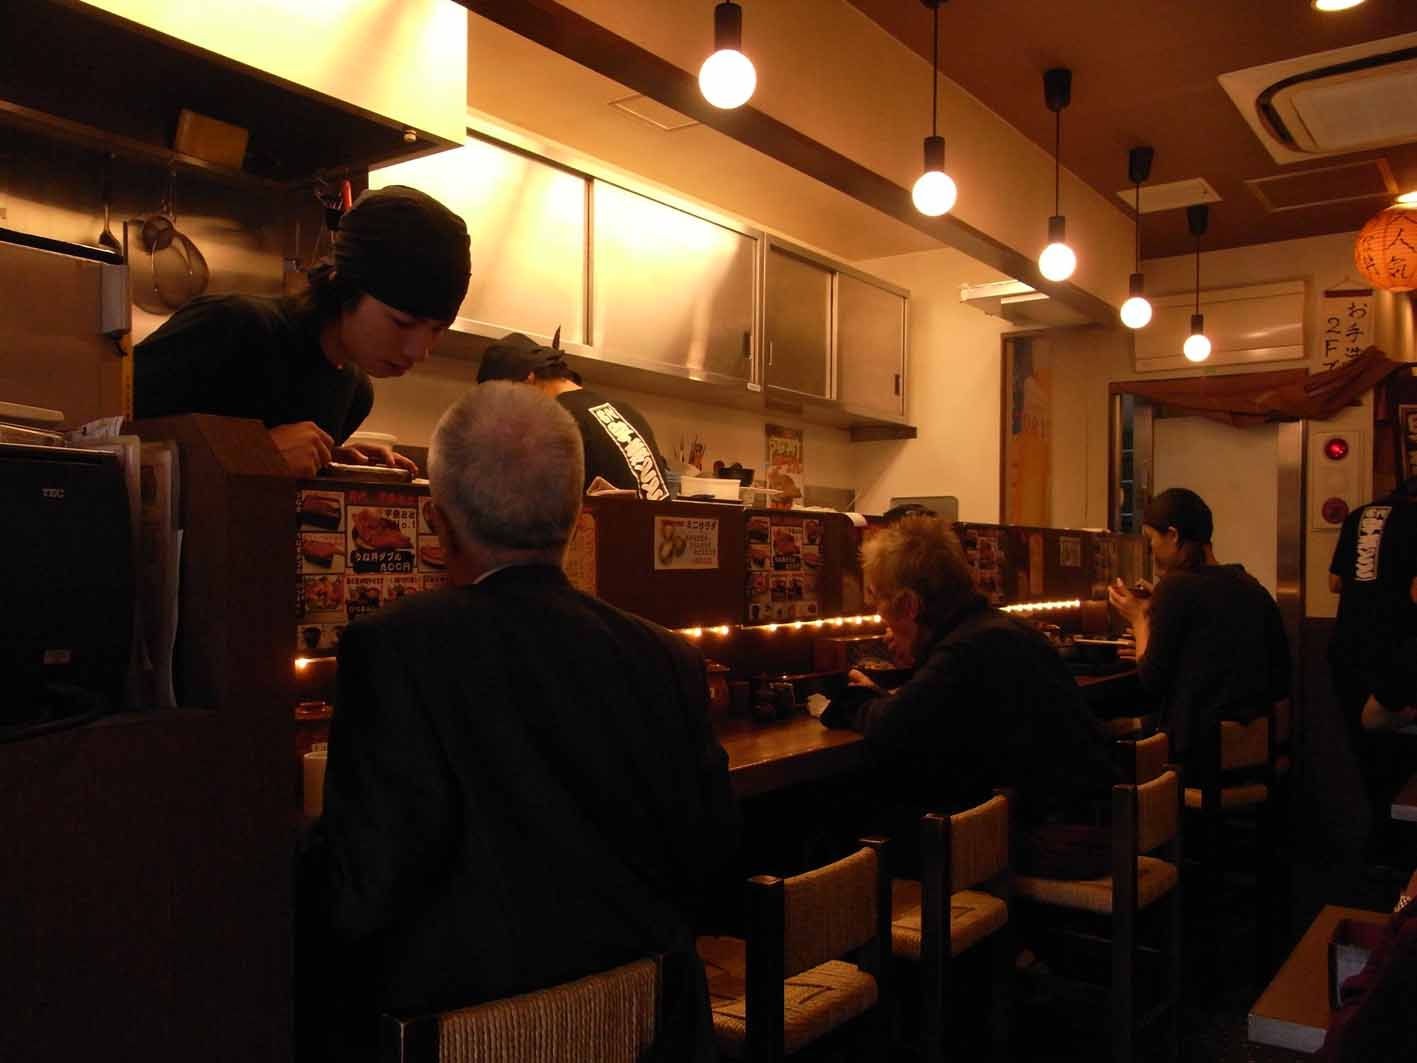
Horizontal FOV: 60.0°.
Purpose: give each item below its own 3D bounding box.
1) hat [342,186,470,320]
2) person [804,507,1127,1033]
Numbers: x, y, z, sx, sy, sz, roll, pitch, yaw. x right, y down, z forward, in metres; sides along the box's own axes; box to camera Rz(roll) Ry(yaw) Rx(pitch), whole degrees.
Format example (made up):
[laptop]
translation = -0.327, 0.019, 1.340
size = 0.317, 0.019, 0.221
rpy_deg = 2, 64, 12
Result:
[hat]
translation = -0.625, -0.565, 2.492
size = 0.262, 0.264, 0.140
rpy_deg = 0, 2, -17
[person]
translation = 0.694, 0.443, 3.330
size = 0.670, 0.857, 0.473
rpy_deg = -1, 15, 18
